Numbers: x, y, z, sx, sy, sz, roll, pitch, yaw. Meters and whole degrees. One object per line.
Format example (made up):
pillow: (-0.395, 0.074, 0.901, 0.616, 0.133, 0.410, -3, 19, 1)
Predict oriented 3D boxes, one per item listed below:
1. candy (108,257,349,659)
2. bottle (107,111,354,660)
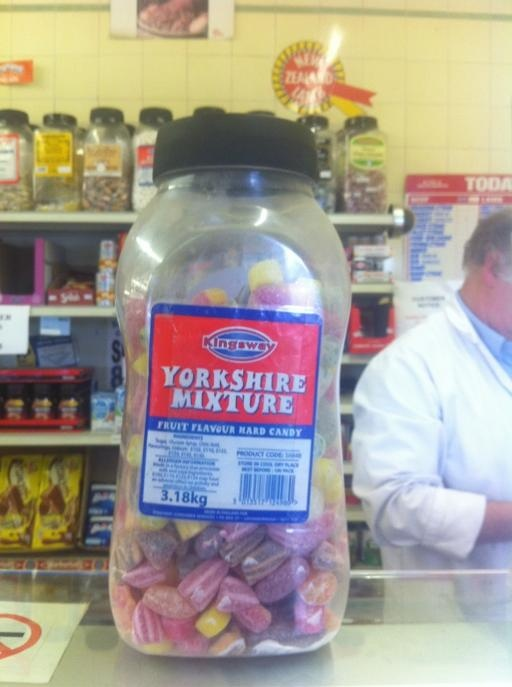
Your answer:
candy: (-0.023, 0.080, 0.636, 0.198, 0.312, 0.140, -1, 1, 6)
bottle: (-0.033, 0.048, 0.665, 0.182, 0.434, 0.155, -2, 3, -32)
